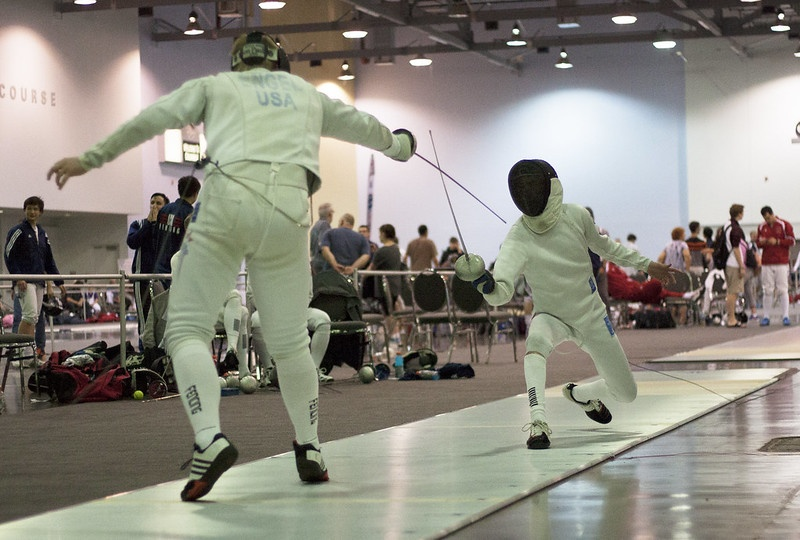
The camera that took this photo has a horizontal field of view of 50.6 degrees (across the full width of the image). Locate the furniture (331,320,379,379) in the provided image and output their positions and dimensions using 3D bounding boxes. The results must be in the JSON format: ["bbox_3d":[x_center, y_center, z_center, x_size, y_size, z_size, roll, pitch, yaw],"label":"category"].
[{"bbox_3d":[-0.382,0.777,7.888,0.433,0.624,0.522,1,-12,-8],"label":"furniture"}]

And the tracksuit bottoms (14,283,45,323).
[{"bbox_3d":[-3.369,0.284,7.698,0.204,0.394,0.303,5,15,-6],"label":"tracksuit bottoms"}]

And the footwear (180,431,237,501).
[{"bbox_3d":[-0.812,0.836,3.570,0.135,0.231,0.296,-1,-1,-39],"label":"footwear"}]

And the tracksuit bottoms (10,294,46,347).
[{"bbox_3d":[-3.720,0.521,8.563,0.153,0.648,0.291,-14,-7,9],"label":"tracksuit bottoms"}]

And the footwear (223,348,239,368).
[{"bbox_3d":[-1.491,0.800,7.521,0.093,0.287,0.111,8,44,6],"label":"footwear"}]

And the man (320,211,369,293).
[{"bbox_3d":[-0.663,0.059,10.301,0.539,1.498,0.453,2,-19,-8],"label":"man"}]

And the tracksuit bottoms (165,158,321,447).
[{"bbox_3d":[-0.679,0.171,3.689,0.662,1.028,0.279,-2,-1,-17],"label":"tracksuit bottoms"}]

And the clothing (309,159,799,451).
[{"bbox_3d":[0.889,0.223,4.947,1.208,1.754,1.616,-12,-24,26],"label":"clothing"}]

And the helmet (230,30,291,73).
[{"bbox_3d":[-0.650,-1.004,3.980,0.183,0.207,0.240,1,-3,1],"label":"helmet"}]
